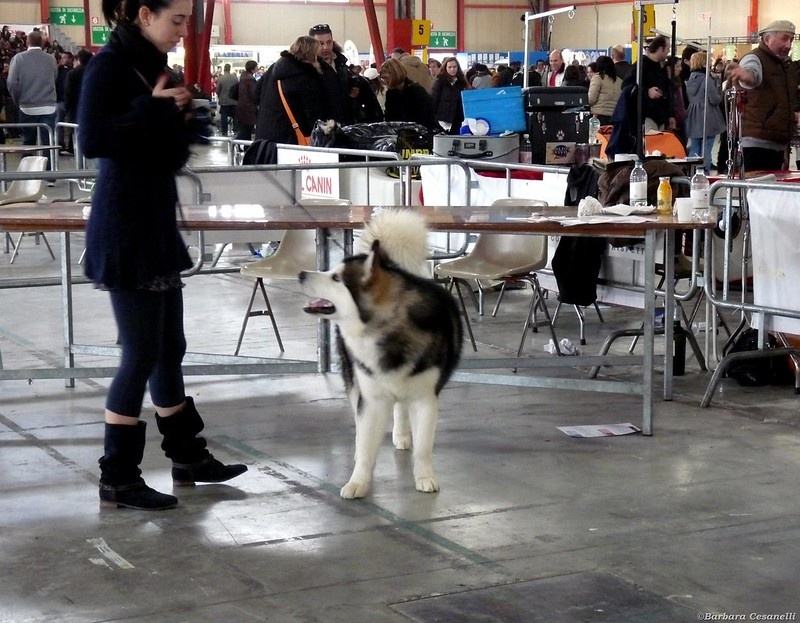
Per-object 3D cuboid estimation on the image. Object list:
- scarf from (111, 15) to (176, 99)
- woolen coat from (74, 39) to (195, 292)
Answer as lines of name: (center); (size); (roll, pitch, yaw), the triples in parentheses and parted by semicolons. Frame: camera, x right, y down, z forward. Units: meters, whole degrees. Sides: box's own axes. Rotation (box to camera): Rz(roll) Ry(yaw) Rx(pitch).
scarf: (-1.139, -1.048, 3.532); (0.318, 0.135, 0.265); (35, -2, 45)
woolen coat: (-1.133, -0.631, 3.588); (0.507, 1.061, 0.276); (-7, 16, -25)
